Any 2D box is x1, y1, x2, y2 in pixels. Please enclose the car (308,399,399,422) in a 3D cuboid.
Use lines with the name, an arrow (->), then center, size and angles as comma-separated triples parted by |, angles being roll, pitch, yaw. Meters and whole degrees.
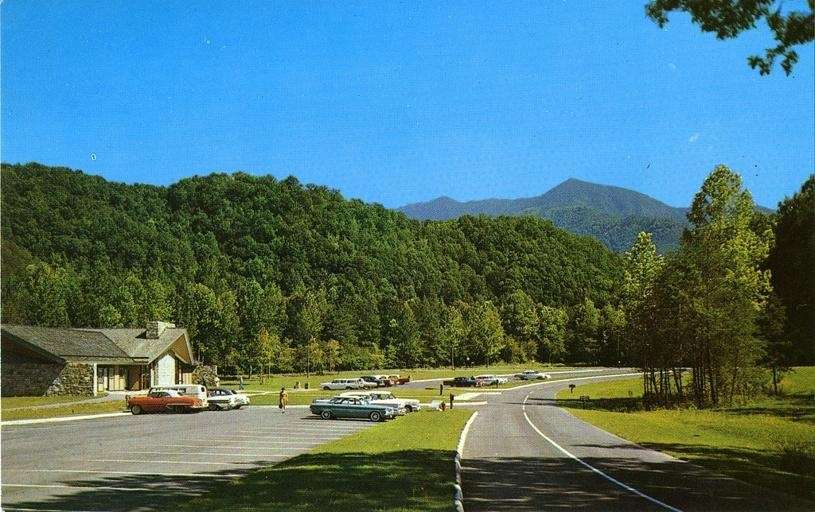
car -> -4.826, 13.200, 63.813 | 6.995, 1.979, 1.140 | -2, -11, 12

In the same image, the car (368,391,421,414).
car -> -1.485, 13.464, 67.399 | 3.461, 1.323, 2.324 | -1, -3, 9

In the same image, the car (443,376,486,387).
car -> 9.095, 19.004, 110.974 | 3.892, 1.212, 2.632 | -2, -5, 7

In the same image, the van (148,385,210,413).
van -> -20.939, 13.380, 68.721 | 4.154, 2.107, 2.529 | 2, -9, 0
